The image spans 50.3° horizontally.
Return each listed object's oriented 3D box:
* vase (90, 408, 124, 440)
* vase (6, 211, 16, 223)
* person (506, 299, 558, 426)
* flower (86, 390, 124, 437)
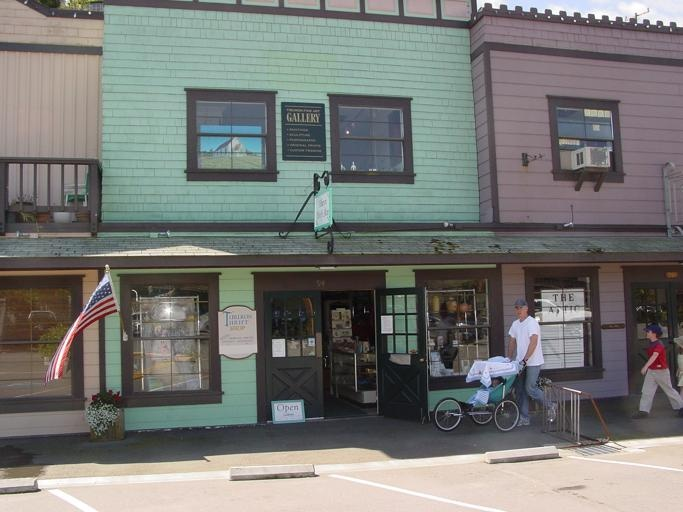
[{"bbox_3d":[-4.039,2.965,12.904,0.632,0.497,0.502,0,-1,8],"label":"vase"},{"bbox_3d":[-6.000,-0.722,13.250,0.092,0.205,0.249,0,4,6],"label":"vase"},{"bbox_3d":[3.361,1.934,13.172,0.986,2.146,1.150,1,-6,29],"label":"person"},{"bbox_3d":[-4.207,2.782,12.836,0.628,0.741,0.457,-3,4,-27],"label":"flower"}]
